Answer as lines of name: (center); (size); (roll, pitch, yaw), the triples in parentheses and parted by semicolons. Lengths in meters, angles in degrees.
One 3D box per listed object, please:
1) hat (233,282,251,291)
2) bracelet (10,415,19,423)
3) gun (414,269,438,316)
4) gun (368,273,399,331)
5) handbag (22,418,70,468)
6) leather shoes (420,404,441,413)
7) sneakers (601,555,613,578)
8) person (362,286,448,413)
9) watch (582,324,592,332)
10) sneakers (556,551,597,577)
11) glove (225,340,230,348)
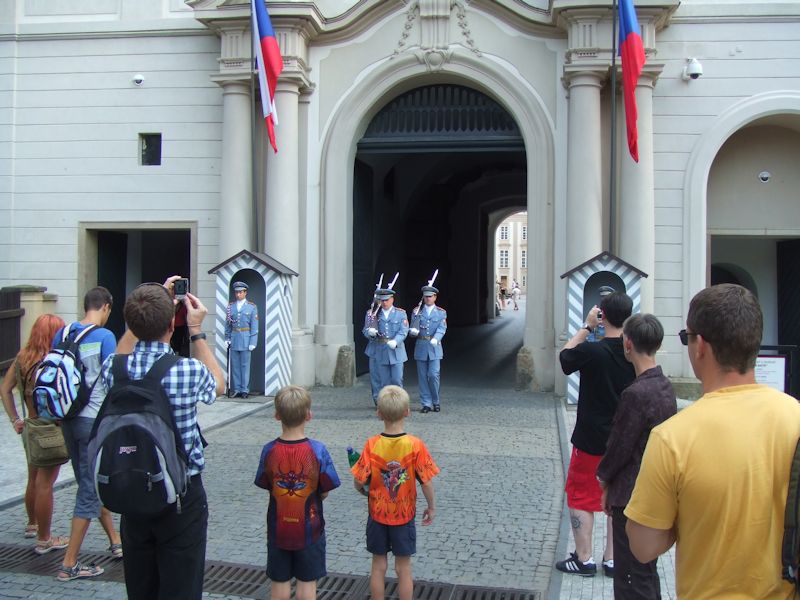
hat: (-2.370, -0.197, 14.380); (0.212, 0.144, 0.394); (0, 3, -11)
bracelet: (-3.434, 1.046, 8.633); (0.097, 0.089, 0.136); (1, -4, -26)
gun: (0.471, -0.190, 19.568); (0.244, 0.274, 1.507); (8, 31, 10)
gun: (-0.309, 0.115, 14.405); (0.302, 0.416, 1.228); (6, -16, -4)
handbag: (-3.065, 1.212, 8.406); (0.242, 0.508, 0.372); (-11, -5, 40)
leather shoes: (0.417, 1.521, 13.601); (0.096, 0.147, 0.300); (-5, -15, 36)
sneakers: (1.722, 2.211, 8.121); (0.072, 0.101, 0.230); (1, 7, 9)
person: (0.039, 0.758, 14.157); (1.236, 2.414, 0.848); (0, -13, -2)
watch: (1.536, 0.231, 8.031); (0.058, 0.047, 0.068); (26, -8, 31)
sneakers: (1.480, 2.224, 8.288); (0.367, 0.240, 0.149); (6, -3, 19)
glove: (-2.556, 0.651, 14.287); (0.042, 0.099, 0.043); (3, 0, 16)
